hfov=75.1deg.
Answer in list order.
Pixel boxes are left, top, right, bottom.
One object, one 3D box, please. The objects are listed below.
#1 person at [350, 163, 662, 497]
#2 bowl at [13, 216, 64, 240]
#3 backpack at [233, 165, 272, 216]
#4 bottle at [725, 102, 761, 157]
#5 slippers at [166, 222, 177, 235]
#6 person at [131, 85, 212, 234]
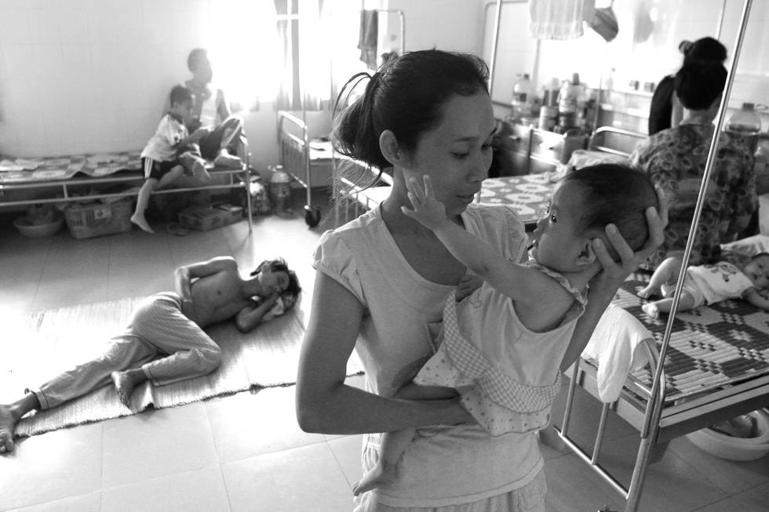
[{"bbox_3d":[0.354,0.214,1.486,0.922,0.952,0.348,-11,25,-27],"label":"person"},{"bbox_3d":[-3.648,-0.301,5.283,0.303,0.127,0.294,-2,22,1],"label":"bowl"},{"bbox_3d":[-1.633,-0.830,6.120,0.583,0.549,0.378,11,15,36],"label":"backpack"},{"bbox_3d":[1.370,-0.489,1.909,0.205,0.192,0.045,-10,24,-24],"label":"bottle"},{"bbox_3d":[-2.341,-0.338,5.507,0.121,0.060,0.151,1,44,-8],"label":"slippers"},{"bbox_3d":[-2.302,-1.026,5.388,0.951,1.483,0.862,-11,25,-26],"label":"person"}]
